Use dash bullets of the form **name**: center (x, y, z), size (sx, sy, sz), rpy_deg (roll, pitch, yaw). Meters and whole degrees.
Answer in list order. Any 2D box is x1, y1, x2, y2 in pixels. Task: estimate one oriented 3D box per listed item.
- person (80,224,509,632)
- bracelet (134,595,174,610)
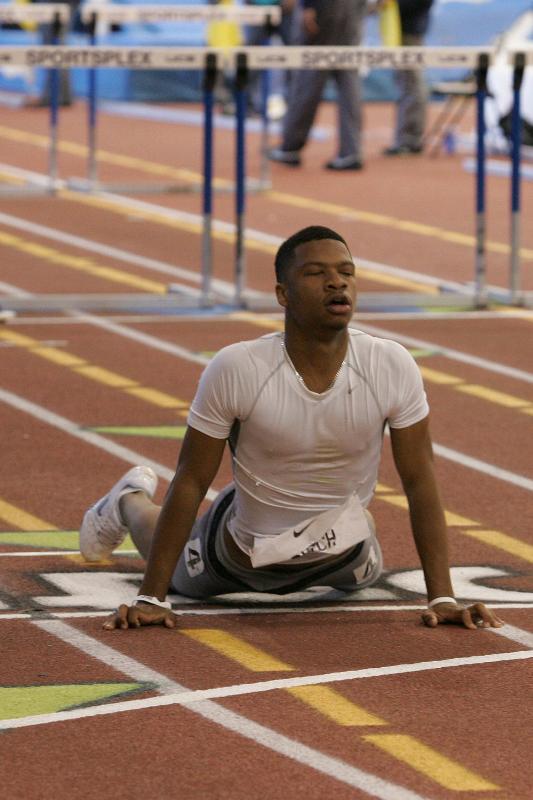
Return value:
- **person**: center (0.083, 0.073, 2.827), size (0.995, 1.046, 0.733), rpy_deg (0, 5, -3)
- **bracelet**: center (-0.293, 0.509, 2.648), size (0.077, 0.032, 0.049), rpy_deg (17, -13, -1)
